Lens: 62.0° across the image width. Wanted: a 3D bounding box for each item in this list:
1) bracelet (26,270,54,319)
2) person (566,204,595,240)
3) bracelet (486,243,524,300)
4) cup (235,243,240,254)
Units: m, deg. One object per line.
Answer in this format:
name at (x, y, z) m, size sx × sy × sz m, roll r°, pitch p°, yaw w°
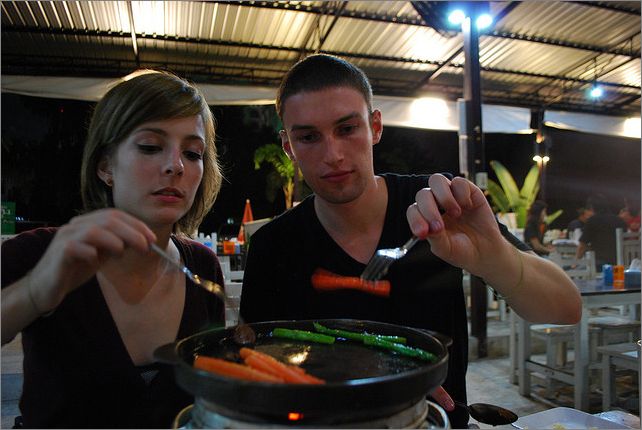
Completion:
bracelet at (-2.630, 0.747, 5.012) m, size 0.149 × 0.425 × 0.301 m, roll 0°, pitch 25°, yaw -7°
person at (6.675, 0.180, 13.754) m, size 0.317 × 0.299 × 0.982 m, roll 8°, pitch -31°, yaw 1°
bracelet at (1.844, 0.580, 5.334) m, size 0.430 × 0.612 × 0.143 m, roll 1°, pitch 0°, yaw -14°
cup at (-1.479, 0.605, 9.503) m, size 0.085 × 0.176 × 0.171 m, roll -1°, pitch -1°, yaw 7°
